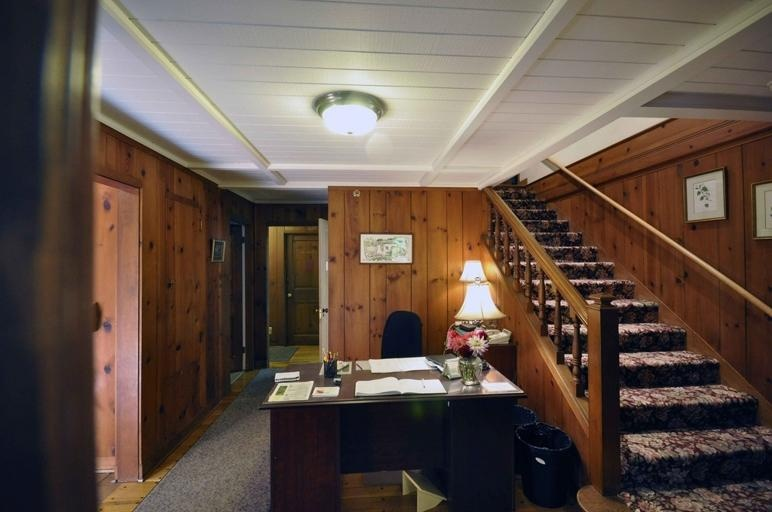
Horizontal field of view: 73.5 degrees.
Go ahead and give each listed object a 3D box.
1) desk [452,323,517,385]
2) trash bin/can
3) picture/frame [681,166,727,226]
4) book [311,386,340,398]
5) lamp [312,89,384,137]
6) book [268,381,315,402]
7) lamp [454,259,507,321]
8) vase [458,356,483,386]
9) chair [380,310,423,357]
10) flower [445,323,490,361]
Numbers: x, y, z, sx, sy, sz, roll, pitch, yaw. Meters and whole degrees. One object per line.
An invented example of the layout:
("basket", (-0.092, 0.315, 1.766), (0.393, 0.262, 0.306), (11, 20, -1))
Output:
("desk", (0.880, 0.873, 4.941), (0.768, 0.725, 0.421), (0, -4, 3))
("trash bin/can", (1.180, 1.540, 4.046), (0.433, 0.528, 0.721), (-2, 1, -9))
("picture/frame", (2.594, -0.497, 4.166), (0.064, 0.594, 0.484), (0, -2, -23))
("book", (-0.427, 0.982, 3.734), (0.196, 0.052, 0.185), (-1, -6, -7))
("lamp", (-0.249, -1.024, 3.692), (0.541, 0.198, 0.350), (-1, -6, -7))
("book", (-0.677, 0.986, 3.753), (0.304, 0.100, 0.323), (-2, -6, -5))
("lamp", (0.873, 0.404, 4.939), (0.647, 0.668, 0.526), (-3, -10, 1))
("vase", (0.610, 0.860, 3.871), (0.192, 0.220, 0.192), (0, -9, -1))
("chair", (0.223, 0.762, 5.002), (0.364, 0.659, 0.427), (0, -9, 3))
("flower", (0.644, 0.660, 4.040), (0.390, 0.287, 0.391), (0, 0, -4))
